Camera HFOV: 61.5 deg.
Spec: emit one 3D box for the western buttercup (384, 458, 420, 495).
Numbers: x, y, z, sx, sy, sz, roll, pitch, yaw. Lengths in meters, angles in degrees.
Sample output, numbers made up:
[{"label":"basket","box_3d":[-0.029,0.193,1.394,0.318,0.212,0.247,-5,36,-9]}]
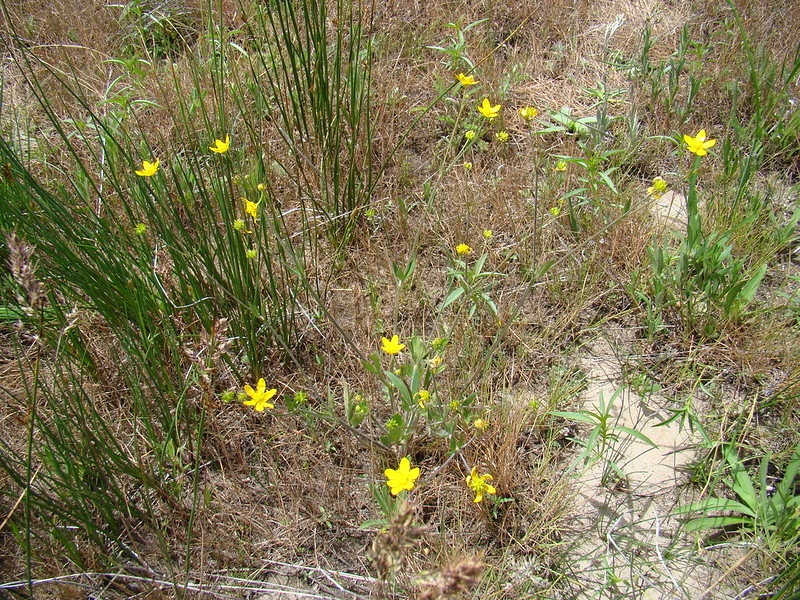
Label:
[{"label":"western buttercup","box_3d":[0.014,0.623,2.255,0.135,0.066,0.174,-12,65,25]}]
